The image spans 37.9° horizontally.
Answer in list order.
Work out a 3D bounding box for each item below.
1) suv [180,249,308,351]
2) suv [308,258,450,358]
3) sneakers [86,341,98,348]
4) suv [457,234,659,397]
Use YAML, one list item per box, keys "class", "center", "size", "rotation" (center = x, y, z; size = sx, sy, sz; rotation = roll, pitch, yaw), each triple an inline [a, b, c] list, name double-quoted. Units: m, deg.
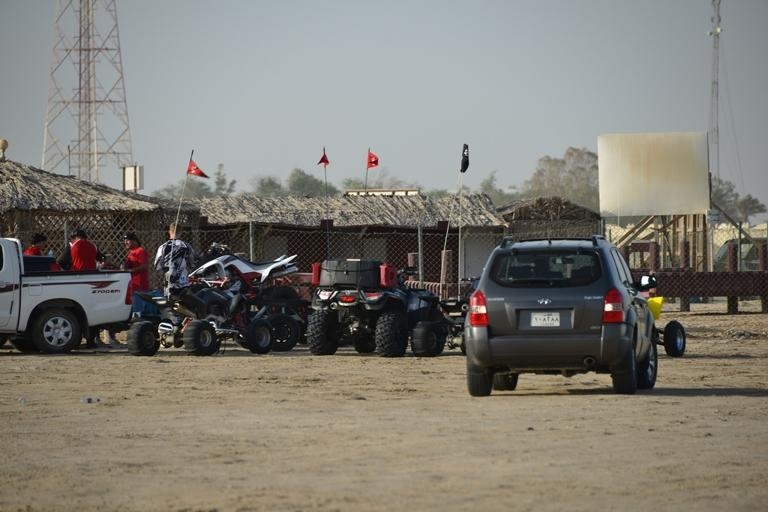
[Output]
- class: "suv"
  center: [-2.736, 0.885, 22.117]
  size: [3.299, 2.105, 1.213]
  rotation: [2, -11, 39]
- class: "suv"
  center: [-0.119, 1.041, 21.277]
  size: [1.723, 1.762, 2.807]
  rotation: [0, -3, 27]
- class: "sneakers"
  center: [-5.766, 1.774, 21.944]
  size: [0.152, 0.098, 0.152]
  rotation: [3, -3, -27]
- class: "suv"
  center: [2.361, 0.800, 15.265]
  size: [1.667, 1.375, 2.974]
  rotation: [-1, 4, 12]
